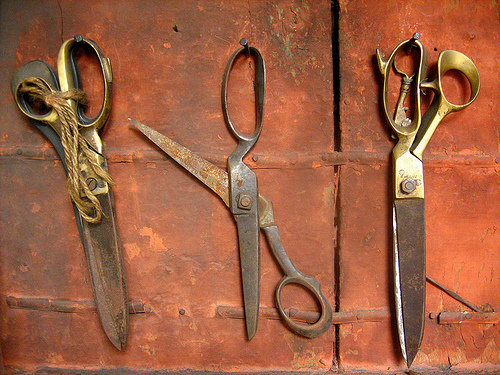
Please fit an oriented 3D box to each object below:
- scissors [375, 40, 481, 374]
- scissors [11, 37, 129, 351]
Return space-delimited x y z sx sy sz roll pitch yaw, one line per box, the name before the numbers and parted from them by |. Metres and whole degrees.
scissors | 0.377 0.004 1.665 0.243 0.131 0.773 1 -94 4
scissors | -0.348 0.040 1.678 0.238 0.098 0.740 -12 -89 4
